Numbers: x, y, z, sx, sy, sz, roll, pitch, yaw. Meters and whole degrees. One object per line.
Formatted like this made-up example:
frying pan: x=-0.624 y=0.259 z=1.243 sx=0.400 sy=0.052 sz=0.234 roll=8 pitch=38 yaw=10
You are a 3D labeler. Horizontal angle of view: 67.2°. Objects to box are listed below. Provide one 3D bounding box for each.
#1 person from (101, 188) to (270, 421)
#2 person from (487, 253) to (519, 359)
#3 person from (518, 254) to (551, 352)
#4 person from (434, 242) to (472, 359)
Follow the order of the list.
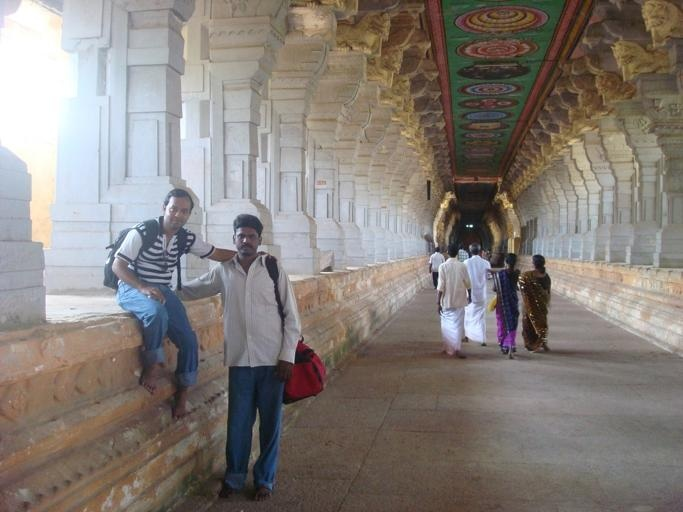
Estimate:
person: x=-1.033 y=0.272 z=2.982 sx=0.628 sy=1.324 sz=0.457 roll=0 pitch=0 yaw=-26
person: x=2.494 y=0.706 z=7.711 sx=0.386 sy=1.171 sz=0.949 roll=-1 pitch=0 yaw=19
person: x=2.888 y=0.710 z=7.617 sx=0.413 sy=1.172 sz=0.749 roll=-1 pitch=0 yaw=23
person: x=1.685 y=0.739 z=7.567 sx=0.455 sy=1.078 sz=0.454 roll=0 pitch=0 yaw=12
